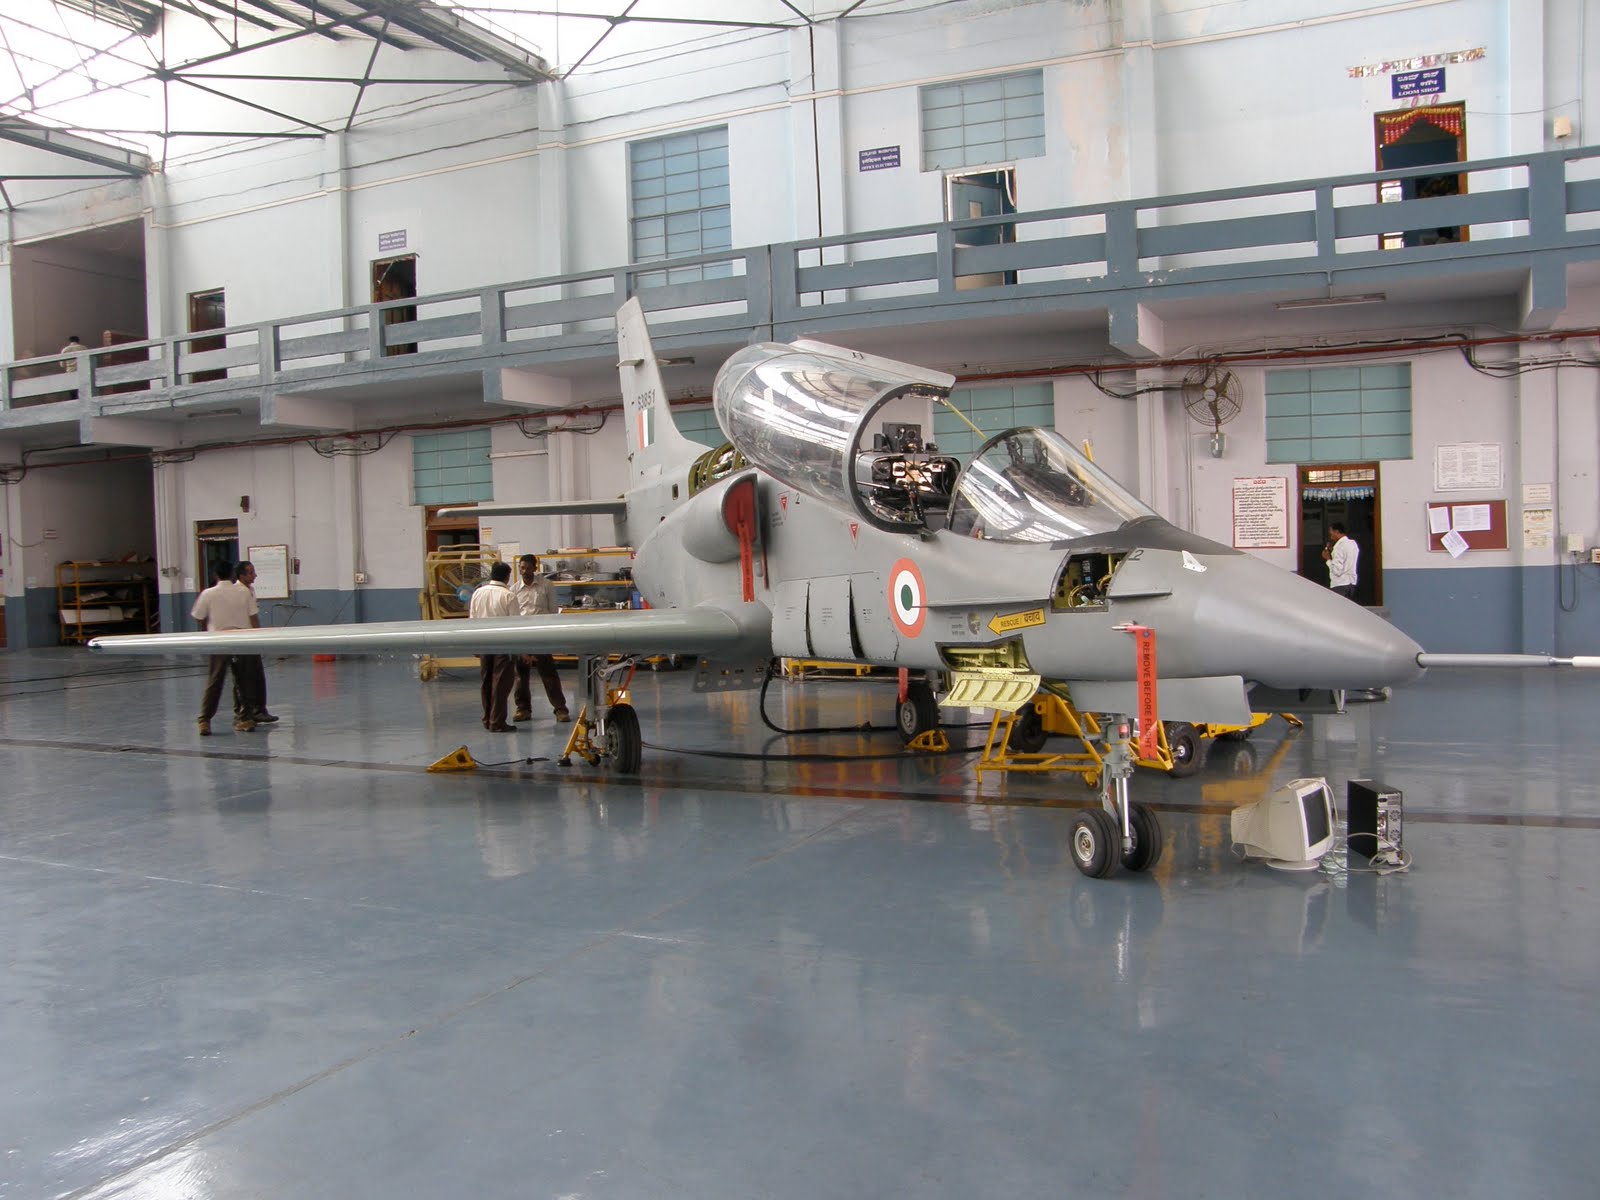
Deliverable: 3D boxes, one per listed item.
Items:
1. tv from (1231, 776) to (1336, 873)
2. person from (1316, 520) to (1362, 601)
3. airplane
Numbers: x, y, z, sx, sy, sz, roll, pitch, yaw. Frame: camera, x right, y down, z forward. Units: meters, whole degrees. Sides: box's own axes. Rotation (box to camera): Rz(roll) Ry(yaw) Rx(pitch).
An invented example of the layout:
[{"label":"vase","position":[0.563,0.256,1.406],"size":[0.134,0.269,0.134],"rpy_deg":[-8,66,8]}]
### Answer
[{"label":"tv","position":[2.975,1.349,9.291],"size":[0.582,0.471,0.558],"rpy_deg":[0,1,19]},{"label":"person","position":[5.703,-0.400,16.139],"size":[0.410,1.010,0.321],"rpy_deg":[7,47,22]},{"label":"airplane","position":[0.932,-0.106,10.422],"size":[7.999,3.470,3.548],"rpy_deg":[-2,4,35]}]
